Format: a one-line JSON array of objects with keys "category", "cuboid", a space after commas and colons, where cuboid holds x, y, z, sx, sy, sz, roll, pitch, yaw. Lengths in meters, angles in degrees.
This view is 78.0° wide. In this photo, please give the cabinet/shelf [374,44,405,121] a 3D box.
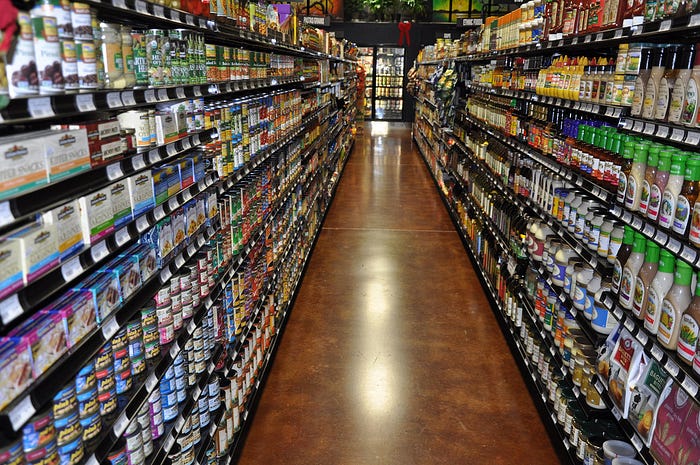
[{"category": "cabinet/shelf", "cuboid": [1.692, -6.584, 19.294, 1.442, 3.079, 0.724, 5, 12, 4]}]
